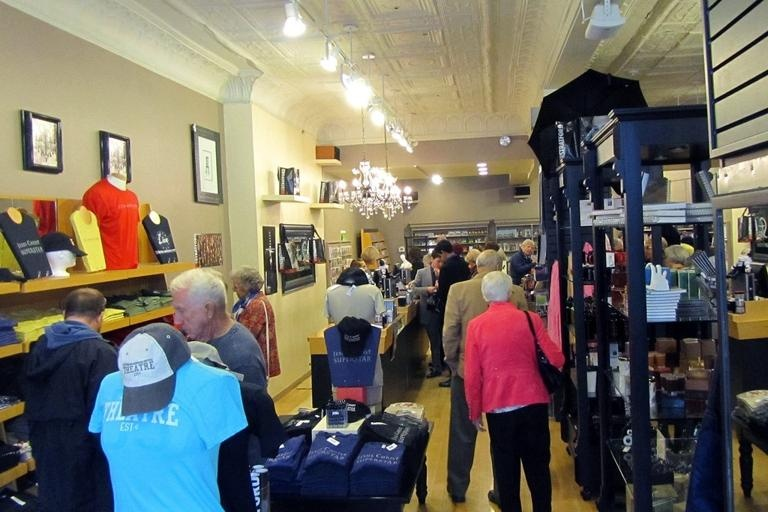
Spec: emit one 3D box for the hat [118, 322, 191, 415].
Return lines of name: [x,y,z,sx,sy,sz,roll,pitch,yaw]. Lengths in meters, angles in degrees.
hat: [-1.164,0.535,2.829,0.292,0.235,0.463,-2,42,5]

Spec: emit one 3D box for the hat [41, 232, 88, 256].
hat: [-2.559,-0.091,4.341,0.261,0.138,0.169,1,2,-26]

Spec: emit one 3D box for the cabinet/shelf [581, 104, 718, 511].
cabinet/shelf: [1.935,0.340,3.805,0.690,2.636,0.713,-2,5,11]

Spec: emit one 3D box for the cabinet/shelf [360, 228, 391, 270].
cabinet/shelf: [-0.176,-0.191,12.234,0.230,0.672,1.031,-11,-4,20]
